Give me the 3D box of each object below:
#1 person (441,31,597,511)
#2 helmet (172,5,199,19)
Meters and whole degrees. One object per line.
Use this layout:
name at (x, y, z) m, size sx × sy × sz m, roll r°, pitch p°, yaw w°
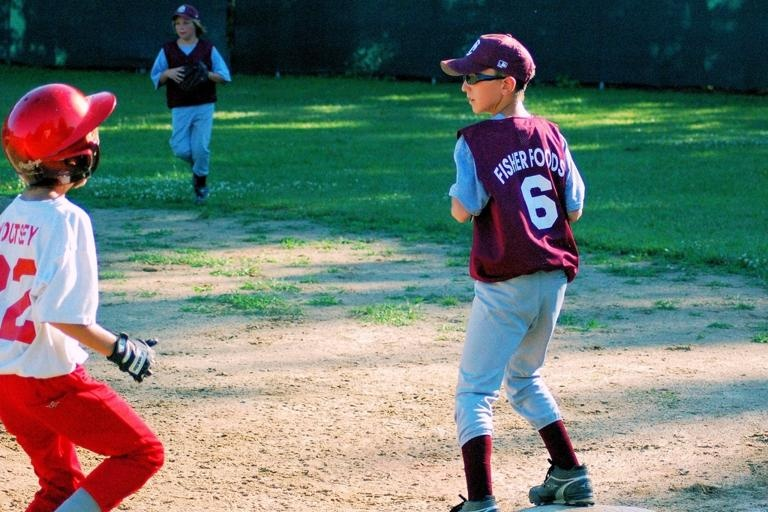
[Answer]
person at (1.099, 0.154, 10.025) m, size 1.193 × 3.727 × 1.237 m, roll 1°, pitch 13°, yaw -1°
helmet at (-2.490, -3.049, 15.908) m, size 0.288 × 0.168 × 0.247 m, roll -1°, pitch 11°, yaw -11°
